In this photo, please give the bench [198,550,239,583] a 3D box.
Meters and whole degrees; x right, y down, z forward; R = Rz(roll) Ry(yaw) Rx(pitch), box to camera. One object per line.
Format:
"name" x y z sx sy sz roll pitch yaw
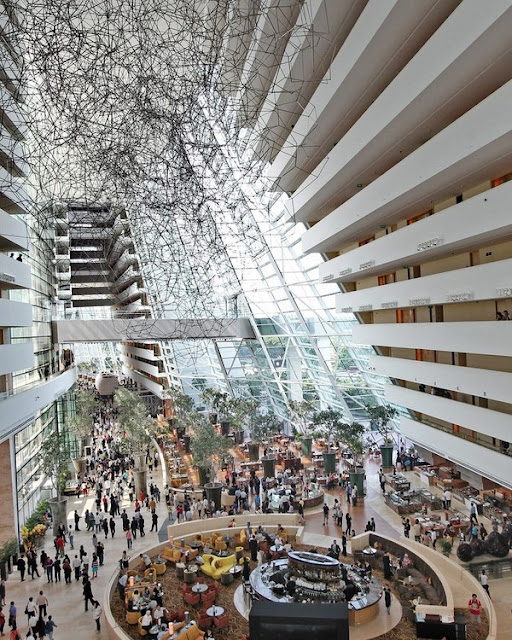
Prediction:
"bench" -1.350 8.678 15.049 0.655 0.284 0.883 -4 1 -30
